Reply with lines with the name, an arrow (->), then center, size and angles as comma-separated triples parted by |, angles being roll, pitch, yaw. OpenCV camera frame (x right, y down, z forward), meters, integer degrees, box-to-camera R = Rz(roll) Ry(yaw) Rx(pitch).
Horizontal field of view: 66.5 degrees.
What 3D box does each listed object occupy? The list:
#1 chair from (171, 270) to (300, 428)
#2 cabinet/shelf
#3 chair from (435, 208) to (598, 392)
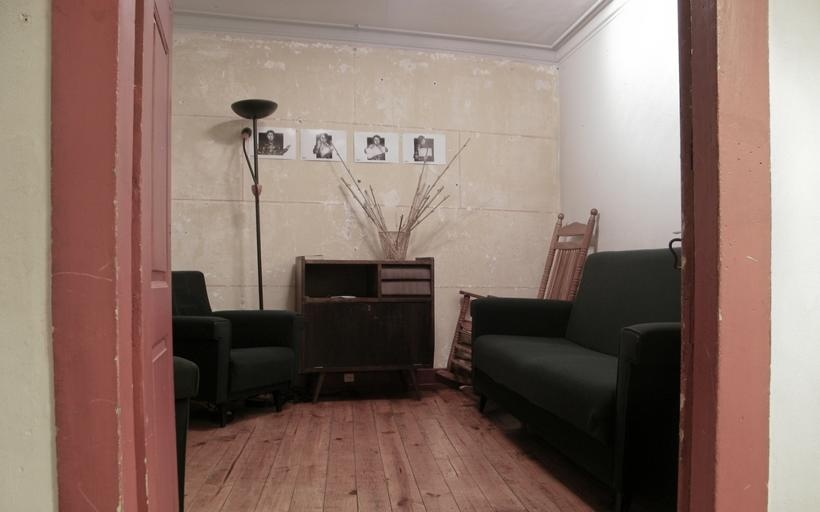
chair -> -1.304, 0.570, 4.237 | 0.850, 0.893, 0.738 | 1, -1, 28
cabinet/shelf -> -0.348, 0.528, 4.556 | 1.044, 1.041, 0.430 | 1, -5, -13
chair -> 0.792, 0.312, 4.921 | 1.054, 1.395, 0.777 | 9, 7, 40
